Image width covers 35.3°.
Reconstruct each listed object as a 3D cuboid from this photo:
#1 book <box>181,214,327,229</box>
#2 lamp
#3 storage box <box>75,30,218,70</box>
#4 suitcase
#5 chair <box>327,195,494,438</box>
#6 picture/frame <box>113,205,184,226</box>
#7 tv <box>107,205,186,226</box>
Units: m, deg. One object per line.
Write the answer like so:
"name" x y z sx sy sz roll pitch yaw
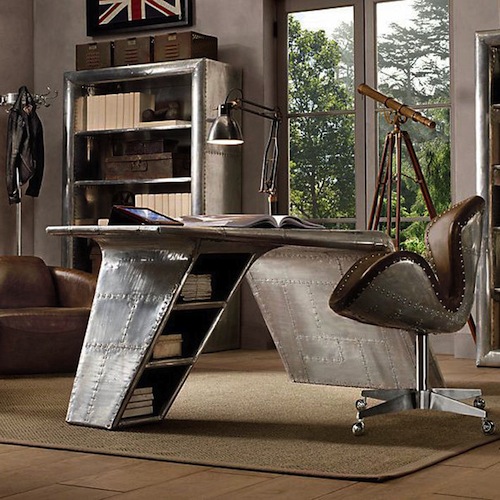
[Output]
"book" -0.013 -0.112 3.005 0.524 0.050 0.484 1 4 -20
"lamp" -0.034 -0.664 4.575 0.483 0.957 0.568 2 5 10
"storage box" -0.820 -1.464 5.815 1.041 0.250 0.344 4 4 22
"suitcase" -0.797 -0.638 5.613 0.544 0.270 0.211 3 6 27
"chair" 0.613 0.238 2.812 0.547 0.873 0.749 4 4 16
"picture/frame" -0.363 -0.118 2.832 0.234 0.064 0.217 6 5 42
"tv" -0.349 -0.120 2.881 0.263 0.080 0.256 0 5 -36
